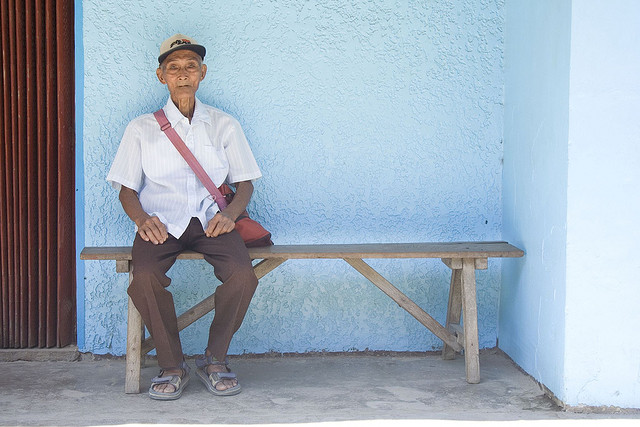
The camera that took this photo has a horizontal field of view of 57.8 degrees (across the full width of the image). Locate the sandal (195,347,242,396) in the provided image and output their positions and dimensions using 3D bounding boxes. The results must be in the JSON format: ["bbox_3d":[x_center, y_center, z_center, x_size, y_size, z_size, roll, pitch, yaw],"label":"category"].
[{"bbox_3d":[-0.707,1.071,3.990,0.174,0.189,0.415,2,10,-38],"label":"sandal"}]

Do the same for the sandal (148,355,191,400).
[{"bbox_3d":[-1.030,1.105,3.941,0.199,0.233,0.519,-1,-5,-2],"label":"sandal"}]

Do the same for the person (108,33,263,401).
[{"bbox_3d":[-0.920,-0.032,4.338,1.089,2.538,1.087,1,-1,-12],"label":"person"}]
